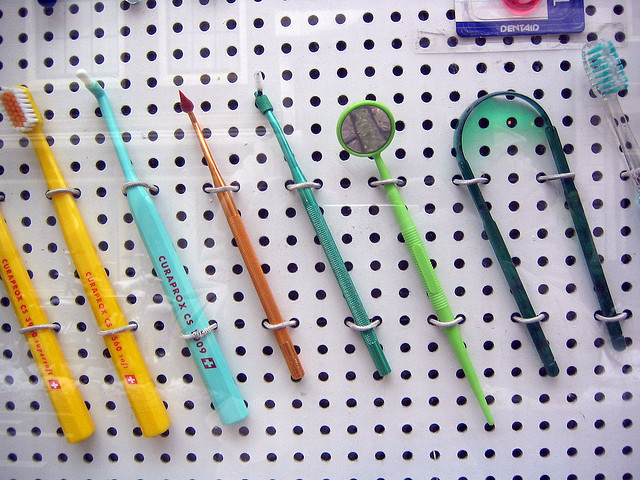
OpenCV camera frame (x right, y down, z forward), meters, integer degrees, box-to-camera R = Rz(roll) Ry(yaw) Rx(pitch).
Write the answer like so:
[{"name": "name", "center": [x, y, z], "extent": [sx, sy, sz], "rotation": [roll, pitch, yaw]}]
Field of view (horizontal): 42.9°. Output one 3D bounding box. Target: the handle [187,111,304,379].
[{"name": "handle", "center": [-0.136, 0.028, 1.511], "extent": [0.029, 0.509, 0.027], "rotation": [-17, 3, -4]}]

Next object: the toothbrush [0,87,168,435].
[{"name": "toothbrush", "center": [-0.429, 0.061, 1.513], "extent": [0.057, 0.657, 0.046], "rotation": [-18, 4, 0]}]

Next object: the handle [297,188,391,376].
[{"name": "handle", "center": [0.046, 0.083, 1.510], "extent": [0.019, 0.355, 0.022], "rotation": [-18, 3, -1]}]

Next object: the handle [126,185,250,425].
[{"name": "handle", "center": [-0.249, 0.129, 1.507], "extent": [0.049, 0.437, 0.046], "rotation": [-15, 5, 19]}]

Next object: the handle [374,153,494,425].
[{"name": "handle", "center": [0.208, 0.113, 1.512], "extent": [0.034, 0.504, 0.049], "rotation": [-17, 2, 8]}]

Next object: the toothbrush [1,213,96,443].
[{"name": "toothbrush", "center": [-0.496, 0.165, 1.513], "extent": [0.048, 0.424, 0.042], "rotation": [-16, -8, -36]}]

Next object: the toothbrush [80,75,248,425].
[{"name": "toothbrush", "center": [-0.279, 0.046, 1.510], "extent": [0.059, 0.651, 0.065], "rotation": [-18, 4, 5]}]
